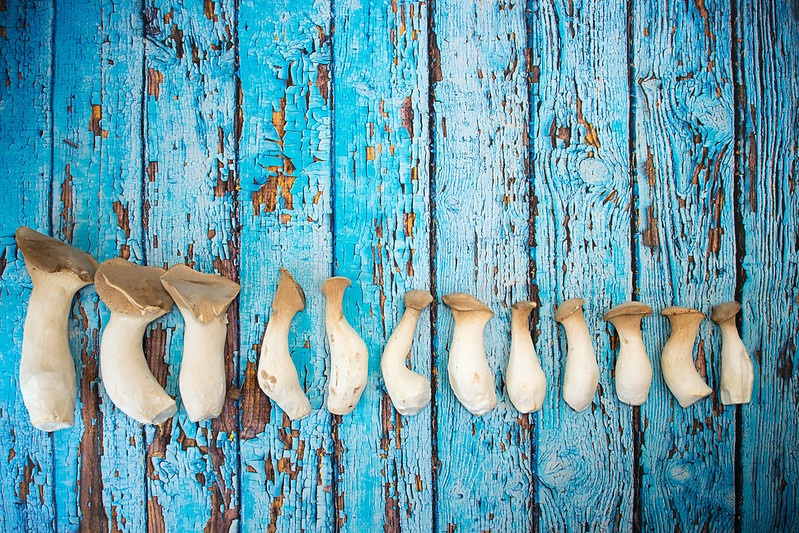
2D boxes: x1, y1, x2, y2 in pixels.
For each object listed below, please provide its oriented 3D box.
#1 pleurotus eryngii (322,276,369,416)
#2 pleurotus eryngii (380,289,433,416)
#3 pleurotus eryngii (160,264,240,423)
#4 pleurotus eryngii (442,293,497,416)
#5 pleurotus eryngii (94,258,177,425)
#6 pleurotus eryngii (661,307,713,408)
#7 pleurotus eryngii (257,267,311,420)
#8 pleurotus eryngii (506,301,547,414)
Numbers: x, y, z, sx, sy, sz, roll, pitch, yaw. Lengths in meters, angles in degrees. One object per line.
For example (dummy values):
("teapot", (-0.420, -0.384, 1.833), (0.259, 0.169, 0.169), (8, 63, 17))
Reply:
("pleurotus eryngii", (-0.113, 0.178, 2.238), (0.077, 0.309, 0.072), (-2, -2, -4))
("pleurotus eryngii", (0.018, 0.179, 2.269), (0.105, 0.299, 0.100), (16, 26, 20))
("pleurotus eryngii", (-0.394, 0.159, 2.259), (0.156, 0.339, 0.147), (-5, 21, -19))
("pleurotus eryngii", (0.147, 0.187, 2.288), (0.112, 0.300, 0.110), (15, 28, 39))
("pleurotus eryngii", (-0.541, 0.160, 2.208), (0.151, 0.358, 0.084), (6, -11, -29))
("pleurotus eryngii", (0.609, 0.189, 2.302), (0.105, 0.228, 0.105), (0, 9, 14))
("pleurotus eryngii", (-0.239, 0.164, 2.230), (0.105, 0.309, 0.075), (3, -7, -18))
("pleurotus eryngii", (0.262, 0.192, 2.280), (0.078, 0.256, 0.082), (-8, 21, -4))
